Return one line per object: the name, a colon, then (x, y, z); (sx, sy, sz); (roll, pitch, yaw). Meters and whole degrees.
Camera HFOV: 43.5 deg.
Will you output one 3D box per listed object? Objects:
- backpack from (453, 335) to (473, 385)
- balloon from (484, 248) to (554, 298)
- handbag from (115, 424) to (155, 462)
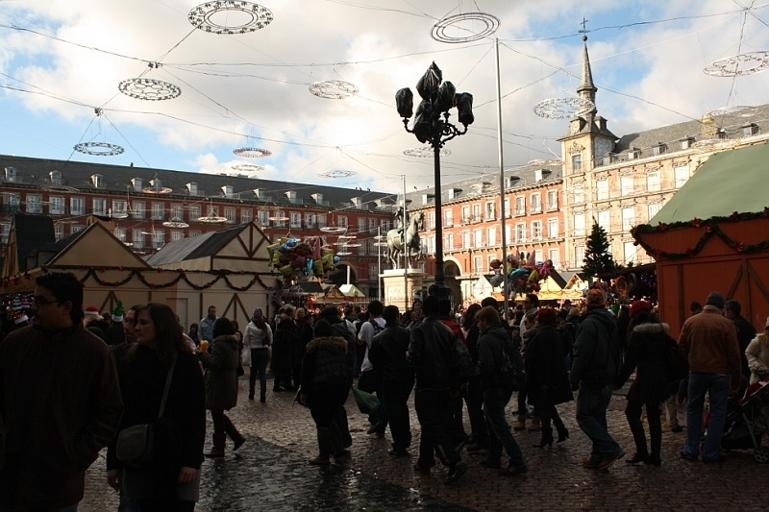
backpack: (1.272, 1.647, 15.316); (0.250, 0.633, 0.530); (-3, -6, 12)
balloon: (4.901, 0.632, 34.004); (2.042, 1.267, 1.902); (-1, 0, -9)
handbag: (-3.057, 2.333, 11.994); (0.537, 0.459, 0.261); (-2, -13, 0)
